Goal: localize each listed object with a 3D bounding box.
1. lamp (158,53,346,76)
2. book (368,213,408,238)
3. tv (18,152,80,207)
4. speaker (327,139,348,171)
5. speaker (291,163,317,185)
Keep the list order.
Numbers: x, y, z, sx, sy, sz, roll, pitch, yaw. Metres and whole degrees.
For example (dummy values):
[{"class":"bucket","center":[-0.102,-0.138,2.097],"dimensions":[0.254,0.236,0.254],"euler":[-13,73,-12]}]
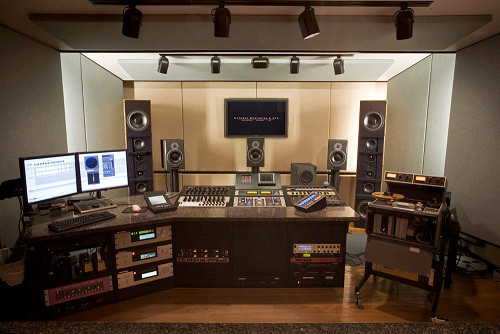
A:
[{"class":"lamp","center":[0.088,-1.681,6.211],"dimensions":[3.108,0.344,0.486],"euler":[0,5,1]},{"class":"book","center":[1.668,0.713,4.539],"dimensions":[0.501,0.332,0.269],"euler":[6,11,26]},{"class":"tv","center":[-2.467,0.159,4.628],"dimensions":[0.699,0.624,0.087],"euler":[-7,12,-41]},{"class":"speaker","center":[1.472,-0.201,6.365],"dimensions":[0.349,0.499,0.126],"euler":[-1,5,-2]},{"class":"speaker","center":[0.902,0.108,6.399],"dimensions":[0.382,0.360,0.384],"euler":[0,4,-4]}]
